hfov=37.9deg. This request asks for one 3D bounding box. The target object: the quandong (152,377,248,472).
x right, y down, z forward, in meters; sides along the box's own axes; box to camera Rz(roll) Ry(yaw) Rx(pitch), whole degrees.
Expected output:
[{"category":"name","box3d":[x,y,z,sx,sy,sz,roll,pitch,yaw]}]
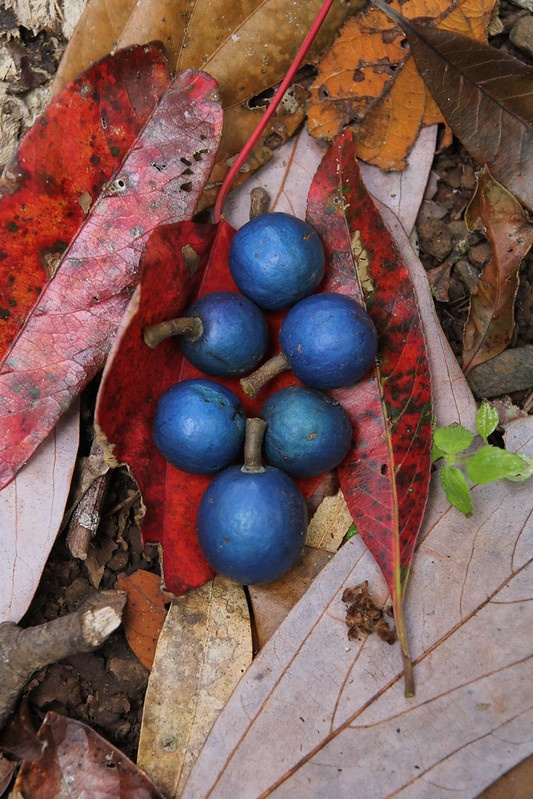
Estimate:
[{"category":"quandong","box3d":[-0.113,0.043,1.354,0.154,0.119,0.150,-45,91,-4]}]

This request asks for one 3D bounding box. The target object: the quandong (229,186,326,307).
[{"category":"quandong","box3d":[0.015,-0.259,1.363,0.171,0.151,0.158,3,23,2]}]
